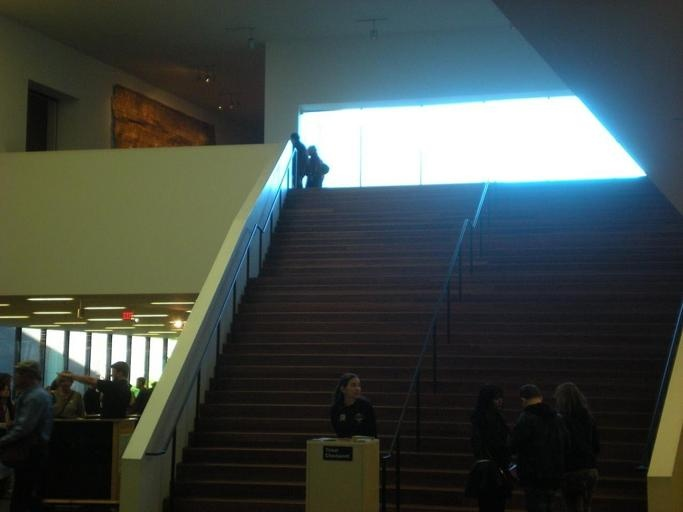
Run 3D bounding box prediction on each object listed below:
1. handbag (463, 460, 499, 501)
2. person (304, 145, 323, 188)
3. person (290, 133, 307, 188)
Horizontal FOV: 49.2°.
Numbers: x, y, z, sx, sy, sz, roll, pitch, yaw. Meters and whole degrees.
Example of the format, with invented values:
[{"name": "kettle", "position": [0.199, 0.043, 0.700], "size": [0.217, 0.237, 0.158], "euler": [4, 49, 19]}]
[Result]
[{"name": "handbag", "position": [1.328, 2.105, 7.019], "size": [0.313, 0.373, 0.104], "euler": [2, -4, 16]}, {"name": "person", "position": [-0.626, -1.986, 16.659], "size": [0.326, 0.995, 0.671], "euler": [3, -4, 3]}, {"name": "person", "position": [-0.934, -2.031, 15.945], "size": [0.363, 1.304, 1.011], "euler": [3, -4, -2]}]
